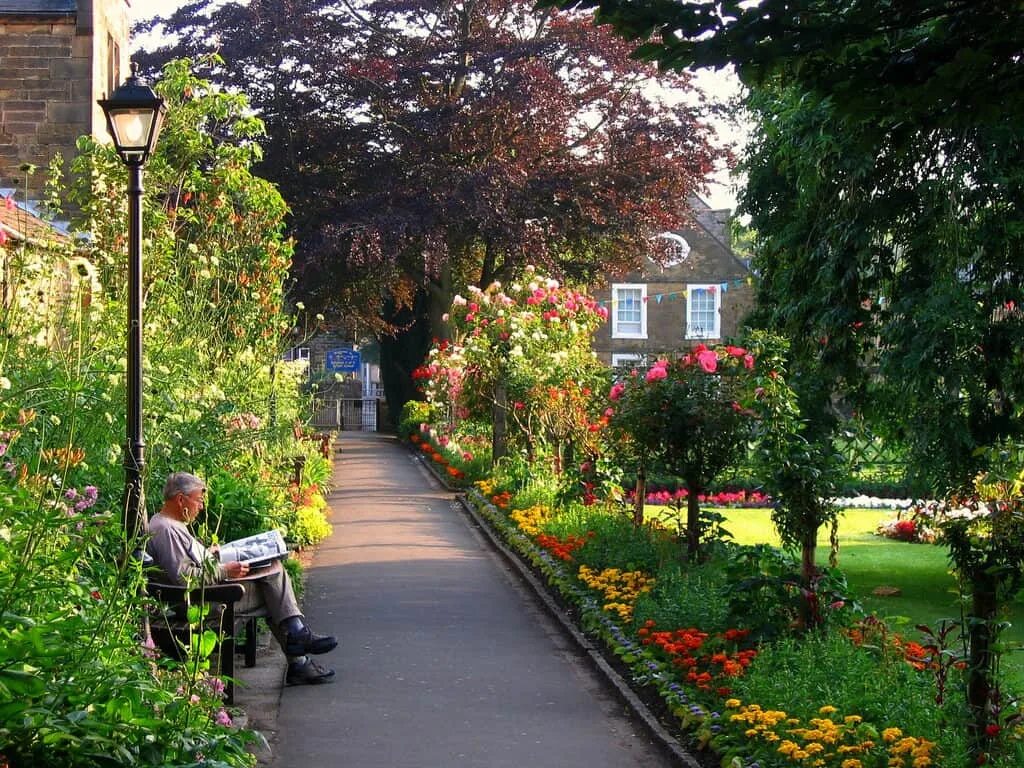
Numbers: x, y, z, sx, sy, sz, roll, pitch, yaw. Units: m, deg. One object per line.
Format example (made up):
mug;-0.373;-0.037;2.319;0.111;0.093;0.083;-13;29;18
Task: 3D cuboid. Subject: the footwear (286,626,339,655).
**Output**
footwear;-1.339;1.710;7.688;0.379;0.213;0.153;-4;21;-10

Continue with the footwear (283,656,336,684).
footwear;-1.396;1.945;7.756;0.322;0.170;0.156;1;0;-8

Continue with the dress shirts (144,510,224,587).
dress shirts;-1.983;0.991;6.786;0.264;0.280;0.507;-5;5;-22

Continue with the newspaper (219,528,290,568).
newspaper;-1.700;1.081;7.436;0.294;0.114;0.243;-11;26;-21

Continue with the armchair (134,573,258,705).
armchair;-1.724;1.349;6.111;0.406;0.556;1.074;0;0;-4

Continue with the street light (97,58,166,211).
street light;-2.330;-1.527;7.001;0.450;0.916;0.297;-1;-2;37
